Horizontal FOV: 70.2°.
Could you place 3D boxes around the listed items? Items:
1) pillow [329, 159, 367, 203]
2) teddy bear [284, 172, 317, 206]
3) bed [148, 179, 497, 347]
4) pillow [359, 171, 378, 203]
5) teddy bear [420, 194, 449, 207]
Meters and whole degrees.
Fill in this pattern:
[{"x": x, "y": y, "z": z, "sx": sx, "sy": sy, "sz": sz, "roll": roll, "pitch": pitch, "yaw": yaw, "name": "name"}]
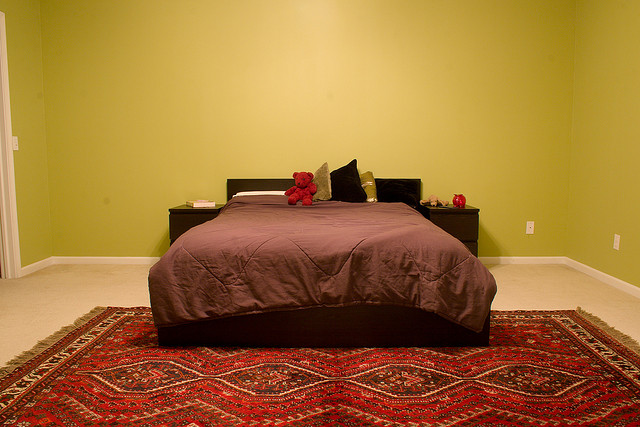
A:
[{"x": 0.297, "y": -0.326, "z": 4.987, "sx": 0.419, "sy": 0.390, "sz": 0.128, "roll": -11, "pitch": -23, "yaw": -1, "name": "pillow"}, {"x": -0.190, "y": -0.277, "z": 4.895, "sx": 0.378, "sy": 0.377, "sz": 0.368, "roll": -2, "pitch": -6, "yaw": 9, "name": "teddy bear"}, {"x": 0.029, "y": 0.229, "z": 4.384, "sx": 2.429, "sy": 0.936, "sz": 2.376, "roll": 0, "pitch": 12, "yaw": 3, "name": "bed"}, {"x": 0.540, "y": -0.291, "z": 5.112, "sx": 0.251, "sy": 0.111, "sz": 0.387, "roll": -22, "pitch": 43, "yaw": 14, "name": "pillow"}, {"x": 1.311, "y": -0.155, "z": 5.135, "sx": 0.261, "sy": 0.113, "sz": 0.160, "roll": 0, "pitch": 4, "yaw": -4, "name": "teddy bear"}]
